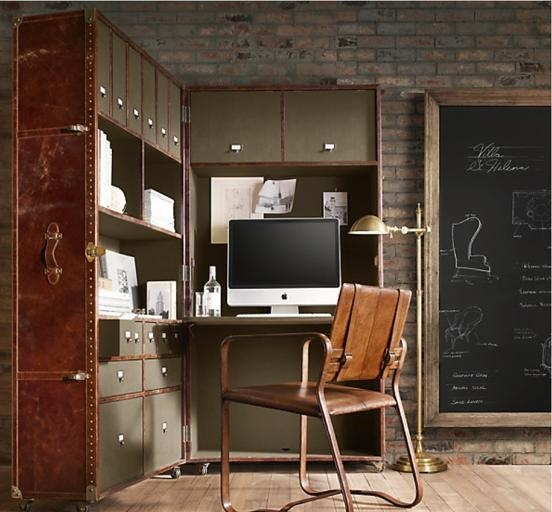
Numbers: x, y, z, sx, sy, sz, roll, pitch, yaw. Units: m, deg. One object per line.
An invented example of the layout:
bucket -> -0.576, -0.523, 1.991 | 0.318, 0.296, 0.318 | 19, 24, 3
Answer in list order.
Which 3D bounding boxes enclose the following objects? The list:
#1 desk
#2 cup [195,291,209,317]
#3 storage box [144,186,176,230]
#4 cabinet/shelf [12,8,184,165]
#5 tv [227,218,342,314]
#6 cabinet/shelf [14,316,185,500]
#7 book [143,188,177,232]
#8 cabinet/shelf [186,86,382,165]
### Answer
desk -> 0.078, 0.690, 3.422 | 0.987, 0.774, 0.333 | 0, -6, -1
cup -> -0.419, 0.256, 3.744 | 0.048, 0.125, 0.106 | 1, -1, -33
storage box -> -0.608, -0.251, 3.511 | 0.073, 0.205, 0.160 | -6, -6, 30
cabinet/shelf -> -0.903, -0.687, 3.397 | 0.341, 0.567, 1.218 | -2, -8, 1
tv -> 0.044, 0.045, 3.832 | 0.611, 0.499, 0.217 | 0, -7, 1
cabinet/shelf -> -0.802, 0.683, 3.285 | 0.380, 0.870, 0.992 | -6, -15, 11
book -> -0.607, -0.239, 3.510 | 0.073, 0.198, 0.206 | -9, -6, 25
cabinet/shelf -> 0.036, -0.726, 3.838 | 1.034, 0.419, 0.156 | -1, -3, -1
